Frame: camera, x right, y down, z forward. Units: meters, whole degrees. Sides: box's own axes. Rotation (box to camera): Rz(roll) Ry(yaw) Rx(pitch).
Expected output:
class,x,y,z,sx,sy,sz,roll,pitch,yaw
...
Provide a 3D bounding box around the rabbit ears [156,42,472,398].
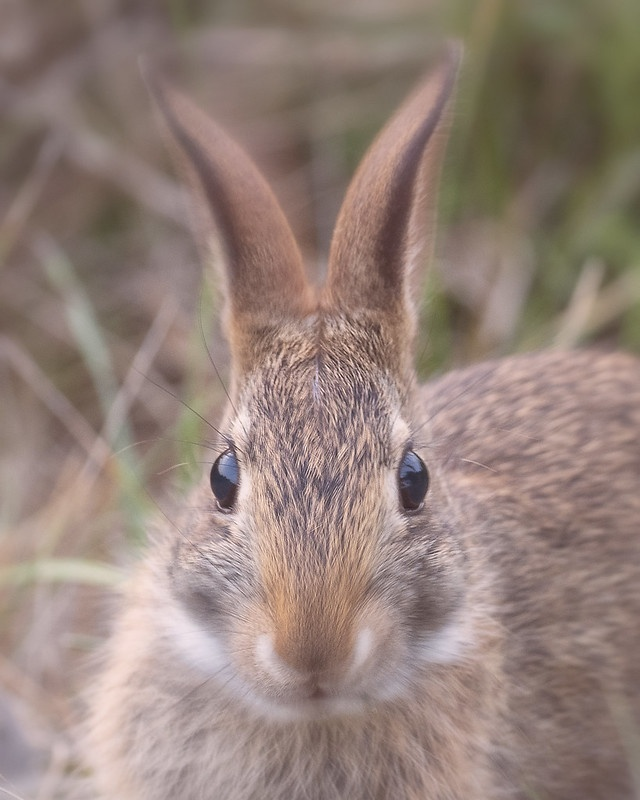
class,x,y,z,sx,sy,sz,roll,pitch,yaw
rabbit ears,0.014,-0.192,1.135,0.399,0.338,0.482,-2,95,-1
